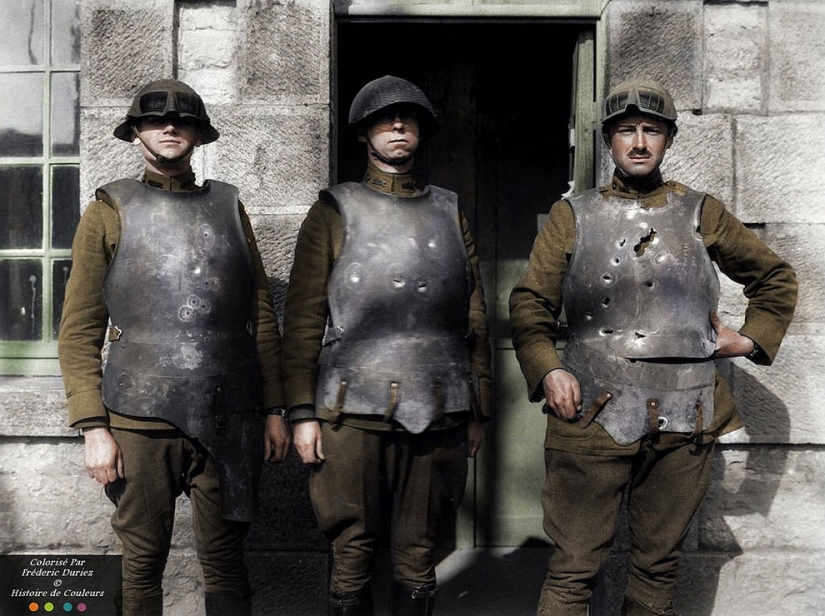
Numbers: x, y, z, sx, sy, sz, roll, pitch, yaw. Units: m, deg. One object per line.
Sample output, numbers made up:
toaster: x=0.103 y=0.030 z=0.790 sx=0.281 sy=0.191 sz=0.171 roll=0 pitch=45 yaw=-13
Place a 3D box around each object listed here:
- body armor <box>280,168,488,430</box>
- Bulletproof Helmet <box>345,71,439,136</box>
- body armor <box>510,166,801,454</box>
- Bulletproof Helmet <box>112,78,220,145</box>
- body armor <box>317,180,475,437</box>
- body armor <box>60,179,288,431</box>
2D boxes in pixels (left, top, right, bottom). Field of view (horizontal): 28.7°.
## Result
body armor: x=-0.140 y=0.004 z=6.901 sx=1.287 sy=1.212 sz=0.700 roll=2 pitch=-9 yaw=-15
Bulletproof Helmet: x=-0.099 y=-0.933 z=7.095 sx=0.497 sy=0.212 sz=0.382 roll=5 pitch=11 yaw=34
body armor: x=1.001 y=-0.026 z=6.953 sx=1.430 sy=1.026 sz=0.567 roll=-2 pitch=3 yaw=-21
Bulletproof Helmet: x=-1.103 y=-0.860 z=7.025 sx=0.380 sy=0.161 sz=0.362 roll=1 pitch=-8 yaw=-11
body armor: x=-0.068 y=-0.004 z=6.921 sx=0.683 sy=1.041 sz=0.394 roll=1 pitch=7 yaw=-3
body armor: x=-1.031 y=0.023 z=6.827 sx=1.312 sy=1.203 sz=0.699 roll=0 pitch=-6 yaw=-21
